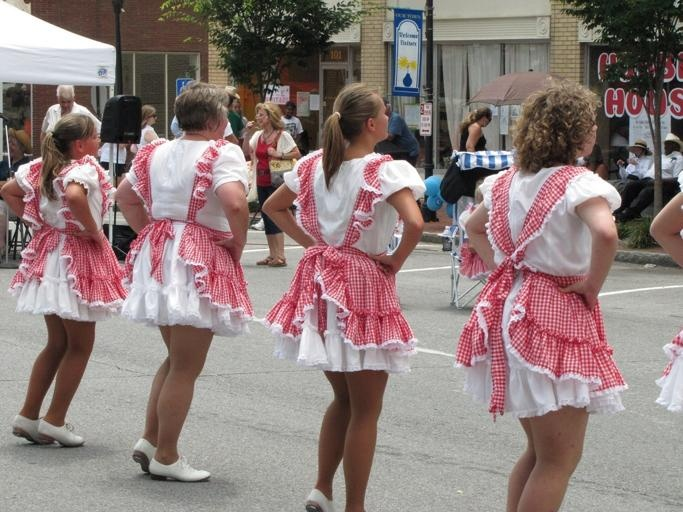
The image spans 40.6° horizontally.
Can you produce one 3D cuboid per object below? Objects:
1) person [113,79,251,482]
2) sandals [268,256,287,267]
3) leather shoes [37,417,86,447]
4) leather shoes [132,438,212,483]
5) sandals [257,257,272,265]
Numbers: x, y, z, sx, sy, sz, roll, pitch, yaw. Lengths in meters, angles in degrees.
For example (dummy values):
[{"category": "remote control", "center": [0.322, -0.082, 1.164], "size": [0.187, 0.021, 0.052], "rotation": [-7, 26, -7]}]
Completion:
[{"category": "person", "center": [-0.970, 0.149, 5.480], "size": [0.850, 2.302, 0.696], "rotation": [2, 8, 6]}, {"category": "sandals", "center": [-0.938, 0.101, 13.287], "size": [0.261, 0.115, 0.104], "rotation": [2, -3, -26]}, {"category": "leather shoes", "center": [-1.849, 1.153, 6.003], "size": [0.316, 0.149, 0.147], "rotation": [24, -1, -18]}, {"category": "leather shoes", "center": [-1.038, 1.189, 5.420], "size": [0.564, 0.253, 0.191], "rotation": [6, -1, -3]}, {"category": "sandals", "center": [-1.126, 0.094, 13.356], "size": [0.252, 0.106, 0.095], "rotation": [0, 1, 20]}]
